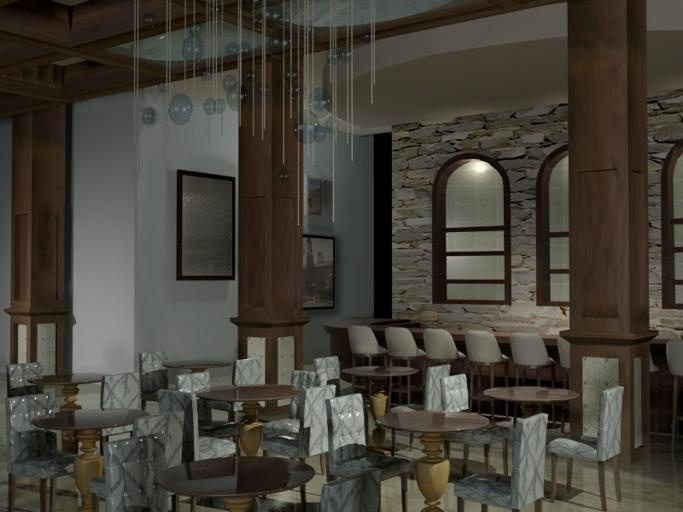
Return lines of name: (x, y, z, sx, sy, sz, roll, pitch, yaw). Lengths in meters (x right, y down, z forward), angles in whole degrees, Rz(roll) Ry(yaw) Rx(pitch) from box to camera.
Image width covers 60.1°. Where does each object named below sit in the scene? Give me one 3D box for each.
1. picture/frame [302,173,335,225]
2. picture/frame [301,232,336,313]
picture/frame: (-0.399, -1.162, 13.495, 0.102, 1.207, 1.234, -15, 17, -42)
picture/frame: (-0.556, 0.372, 13.484, 0.229, 1.694, 0.997, -5, -5, 39)
